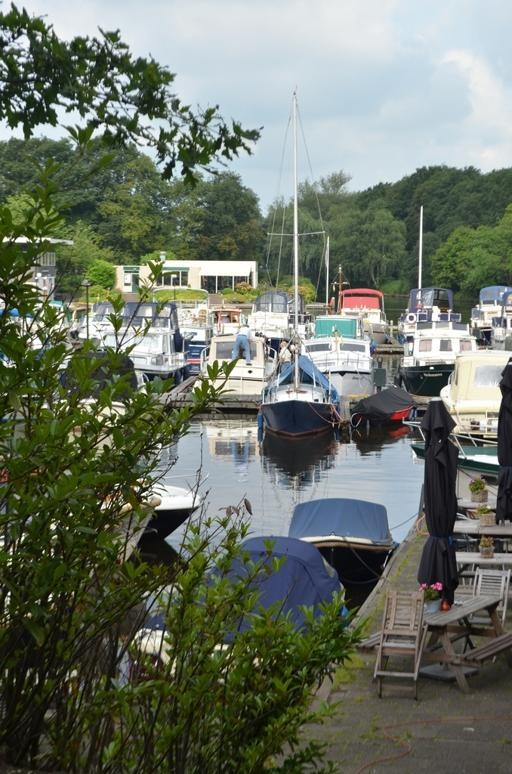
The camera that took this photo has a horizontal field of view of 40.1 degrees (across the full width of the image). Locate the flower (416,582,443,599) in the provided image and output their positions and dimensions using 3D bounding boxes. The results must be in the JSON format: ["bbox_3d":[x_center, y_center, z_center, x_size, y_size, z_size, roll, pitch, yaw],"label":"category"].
[{"bbox_3d":[1.880,2.210,7.610,0.264,0.207,0.304,-1,-2,7],"label":"flower"}]

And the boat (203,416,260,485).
[{"bbox_3d":[-0.797,2.096,22.723,1.609,0.586,2.412,0,14,0],"label":"boat"}]

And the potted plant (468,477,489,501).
[{"bbox_3d":[3.604,1.667,11.428,0.339,0.492,0.405,0,6,12],"label":"potted plant"}]

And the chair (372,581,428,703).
[{"bbox_3d":[1.495,2.701,7.352,0.613,1.060,1.087,4,-12,11],"label":"chair"}]

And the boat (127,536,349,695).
[{"bbox_3d":[0.180,1.881,7.323,1.606,1.195,3.069,0,3,15],"label":"boat"}]

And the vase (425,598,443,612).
[{"bbox_3d":[1.933,2.408,7.645,0.150,0.117,0.158,0,-1,32],"label":"vase"}]
